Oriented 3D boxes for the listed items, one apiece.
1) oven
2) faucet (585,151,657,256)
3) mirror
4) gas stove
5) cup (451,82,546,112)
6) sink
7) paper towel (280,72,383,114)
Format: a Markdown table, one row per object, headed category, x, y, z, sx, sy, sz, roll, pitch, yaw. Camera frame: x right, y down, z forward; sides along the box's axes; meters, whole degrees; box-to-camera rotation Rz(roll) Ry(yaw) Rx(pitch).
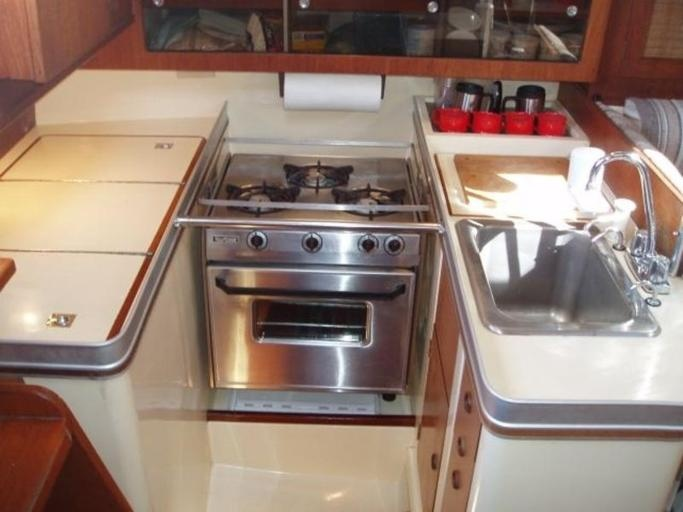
| category | x | y | z | sx | sy | sz | roll | pitch | yaw |
| --- | --- | --- | --- | --- | --- | --- | --- | --- | --- |
| oven | -0.128 | 0.165 | 2.523 | 0.862 | 0.759 | 0.659 | -1 | 20 | -14 |
| faucet | 0.840 | -0.149 | 1.739 | 0.207 | 0.355 | 0.094 | 2 | 59 | 32 |
| mirror | 0.011 | -0.829 | 2.248 | 2.003 | 0.297 | 0.048 | 1 | 31 | 2 |
| gas stove | -0.098 | -0.290 | 2.338 | 0.729 | 0.105 | 0.287 | -2 | 31 | -2 |
| cup | 0.642 | -0.652 | 2.399 | 0.209 | 0.077 | 0.069 | 1 | 46 | 5 |
| sink | 0.639 | 0.111 | 1.739 | 0.337 | 0.256 | 0.395 | -1 | 44 | 0 |
| paper towel | -0.033 | -0.682 | 2.517 | 0.310 | 0.161 | 0.122 | 1 | 8 | 1 |
